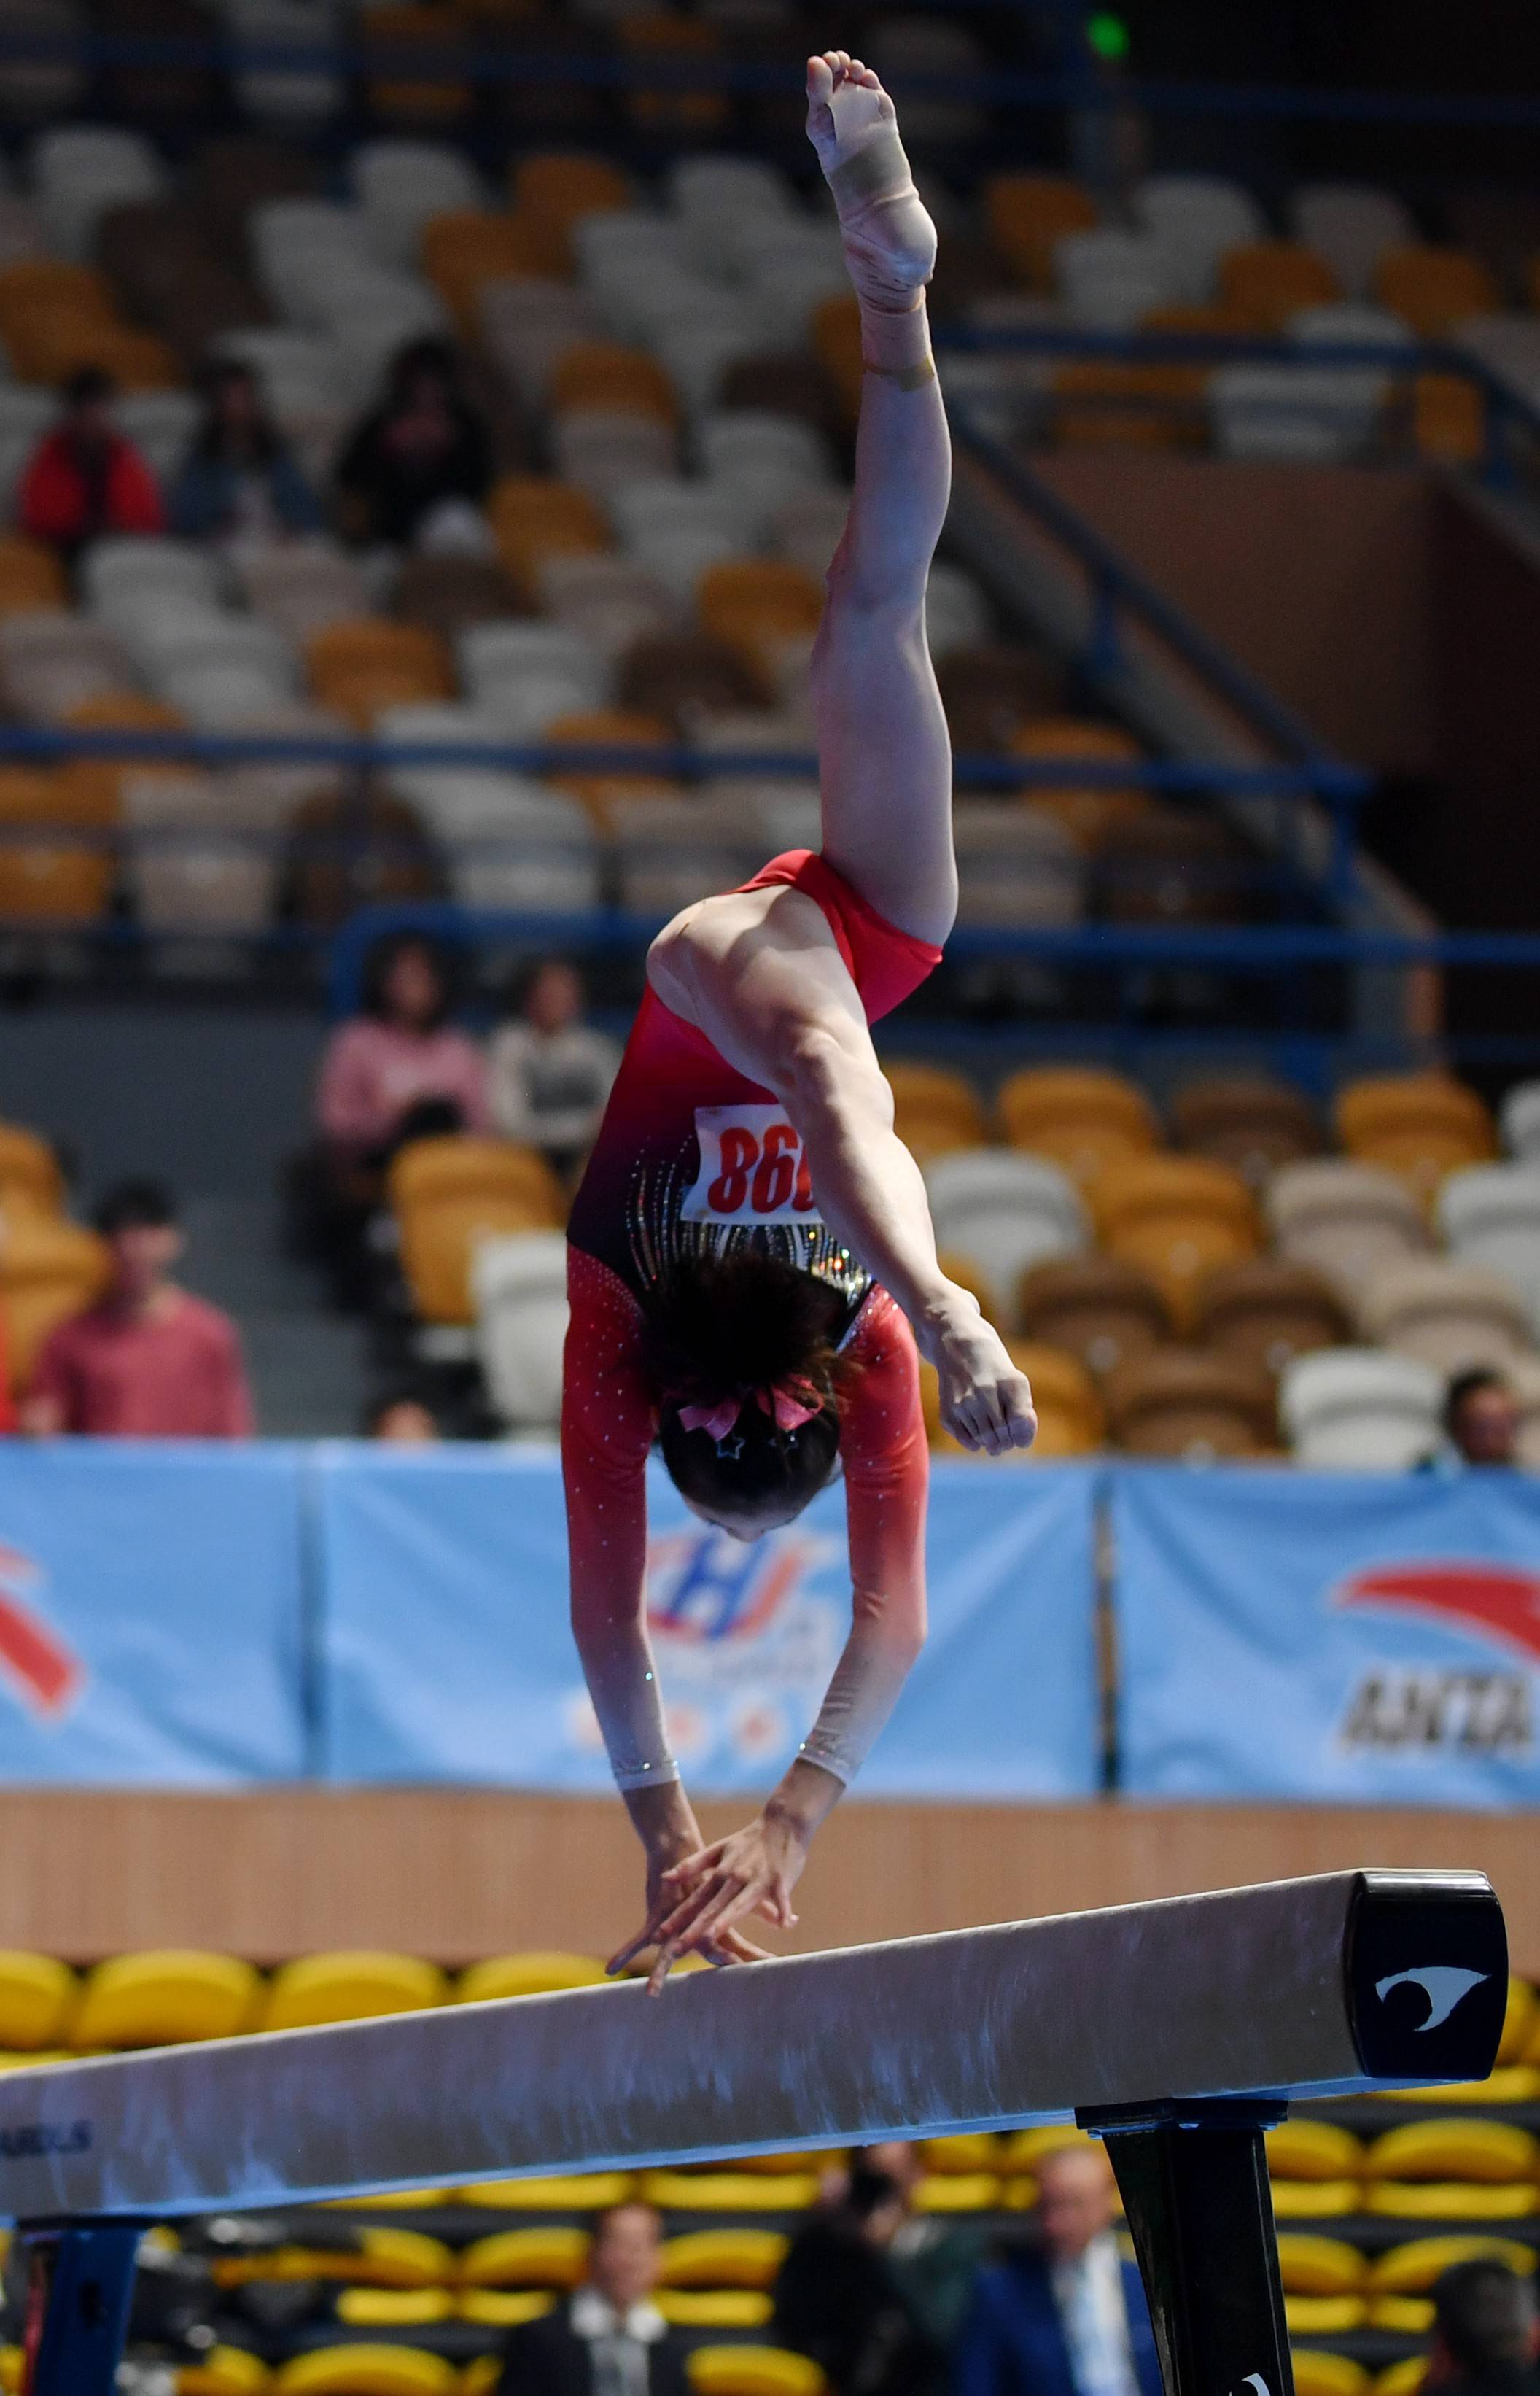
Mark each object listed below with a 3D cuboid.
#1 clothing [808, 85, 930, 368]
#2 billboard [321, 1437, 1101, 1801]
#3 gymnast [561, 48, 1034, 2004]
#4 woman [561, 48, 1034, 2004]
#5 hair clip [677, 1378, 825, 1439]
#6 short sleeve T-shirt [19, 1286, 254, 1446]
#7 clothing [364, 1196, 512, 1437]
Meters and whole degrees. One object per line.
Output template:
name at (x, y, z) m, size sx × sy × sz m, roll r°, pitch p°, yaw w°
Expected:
clothing at (0.147, -1.310, 6.460) m, size 0.130 × 0.438 × 0.142 m, roll -14°, pitch 28°, yaw 6°
billboard at (-0.100, 0.868, 9.557) m, size 1.740 × 0.738 × 0.156 m, roll 2°, pitch -12°, yaw -16°
gymnast at (0.123, -0.267, 6.572) m, size 0.627 × 2.696 × 0.748 m, roll 9°, pitch -13°, yaw -37°
woman at (0.113, -0.198, 6.587) m, size 0.627 × 2.696 × 0.748 m, roll 9°, pitch -13°, yaw -37°
hair clip at (-0.025, 0.288, 6.419) m, size 0.116 × 0.036 × 0.109 m, roll -8°, pitch 15°, yaw 8°
short sleeve T-shirt at (-1.367, 0.402, 10.051) m, size 0.568 × 0.368 × 0.275 m, roll 1°, pitch -11°, yaw -10°
clothing at (-0.813, 0.291, 10.684) m, size 0.257 × 0.469 × 0.599 m, roll -11°, pitch -4°, yaw -5°
